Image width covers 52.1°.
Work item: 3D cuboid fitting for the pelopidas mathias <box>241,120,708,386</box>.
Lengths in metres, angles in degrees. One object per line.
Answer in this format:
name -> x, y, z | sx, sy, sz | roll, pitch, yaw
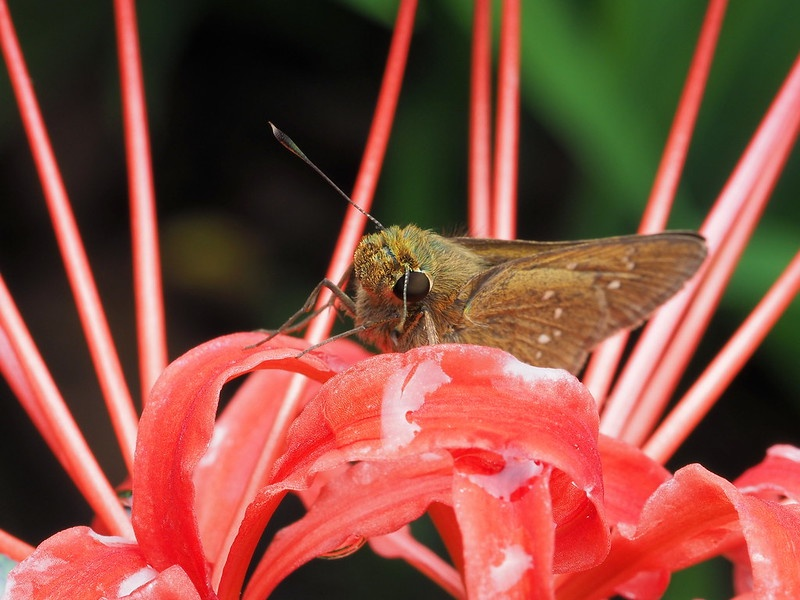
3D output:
pelopidas mathias -> 0.137, -0.017, 1.063 | 0.398, 0.242, 0.335 | 14, -2, 10
